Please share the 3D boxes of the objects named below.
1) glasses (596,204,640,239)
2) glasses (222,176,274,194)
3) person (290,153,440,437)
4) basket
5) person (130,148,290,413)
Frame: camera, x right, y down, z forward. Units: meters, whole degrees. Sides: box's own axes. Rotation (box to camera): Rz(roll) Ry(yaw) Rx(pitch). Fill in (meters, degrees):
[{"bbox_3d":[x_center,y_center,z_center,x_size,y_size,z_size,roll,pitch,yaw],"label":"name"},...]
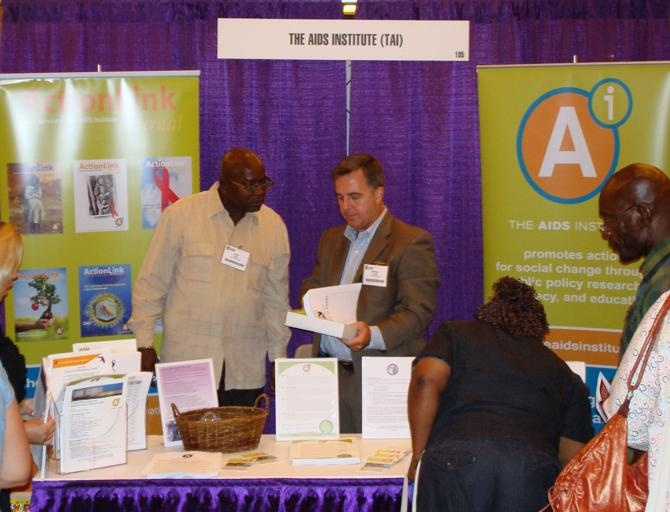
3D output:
[{"bbox_3d":[1.363,-0.163,3.400,0.148,0.087,0.125,-13,-3,-1],"label":"glasses"},{"bbox_3d":[-0.503,-0.396,3.956,0.151,0.047,0.152,-2,-2,-37],"label":"glasses"},{"bbox_3d":[0.167,0.197,3.895,0.782,1.521,0.648,0,7,14],"label":"person"},{"bbox_3d":[-0.549,0.807,3.413,0.377,0.216,0.280,0,-5,-11],"label":"basket"},{"bbox_3d":[-0.694,0.131,4.045,0.948,1.462,0.407,-4,7,-18],"label":"person"}]
